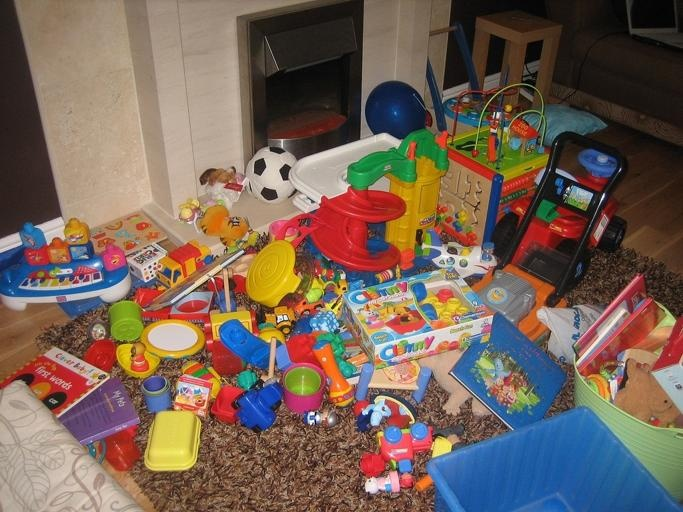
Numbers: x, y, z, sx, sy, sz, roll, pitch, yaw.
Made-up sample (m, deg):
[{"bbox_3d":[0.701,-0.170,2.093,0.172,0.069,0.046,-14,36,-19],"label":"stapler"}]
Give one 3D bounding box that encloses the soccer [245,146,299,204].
[{"bbox_3d":[-0.407,-0.505,3.080,0.294,0.348,0.298,-17,43,-31],"label":"soccer"}]
